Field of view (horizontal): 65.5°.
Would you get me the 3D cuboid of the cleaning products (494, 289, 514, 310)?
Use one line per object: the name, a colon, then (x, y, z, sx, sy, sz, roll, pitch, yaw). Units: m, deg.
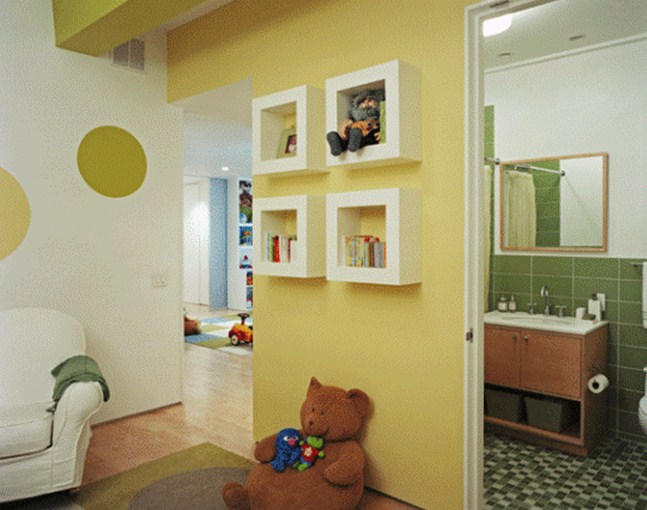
cleaning products: (1.682, 0.411, 4.687, 0.177, 0.213, 0.076, -2, -5, 42)

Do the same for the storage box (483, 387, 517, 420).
storage box: (1.481, 1.239, 4.237, 0.243, 0.196, 0.206, 1, -2, 16)

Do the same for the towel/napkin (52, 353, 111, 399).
towel/napkin: (-1.662, 0.799, 3.482, 0.348, 0.165, 0.357, -5, 14, -30)

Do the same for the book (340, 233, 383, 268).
book: (0.271, 0.017, 3.295, 0.313, 0.330, 0.172, -6, -9, 43)

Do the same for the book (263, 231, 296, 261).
book: (-0.295, -0.033, 3.636, 0.175, 0.254, 0.244, 0, -1, 32)

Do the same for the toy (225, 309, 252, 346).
toy: (-1.132, 1.040, 7.169, 0.307, 0.411, 0.508, 2, -3, -39)

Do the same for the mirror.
mirror: (2.043, -0.477, 4.469, 0.844, 0.863, 0.068, -1, 1, 43)

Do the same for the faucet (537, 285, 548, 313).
faucet: (1.942, 0.394, 4.493, 0.101, 0.245, 0.097, 4, 7, 31)

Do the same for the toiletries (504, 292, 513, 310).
toiletries: (1.721, 0.434, 4.664, 0.071, 0.153, 0.075, 3, 6, 17)

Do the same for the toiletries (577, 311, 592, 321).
toiletries: (2.178, 0.507, 4.224, 0.098, 0.052, 0.104, -1, 6, -23)

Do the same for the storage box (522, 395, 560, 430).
storage box: (1.760, 1.267, 4.091, 0.287, 0.245, 0.099, 4, 7, 29)

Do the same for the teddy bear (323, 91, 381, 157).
teddy bear: (0.197, -0.844, 3.241, 0.324, 0.420, 0.220, 5, 7, 34)

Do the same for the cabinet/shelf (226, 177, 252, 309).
cabinet/shelf: (-1.678, -0.229, 10.287, 0.444, 2.642, 0.838, -2, 6, -29)
